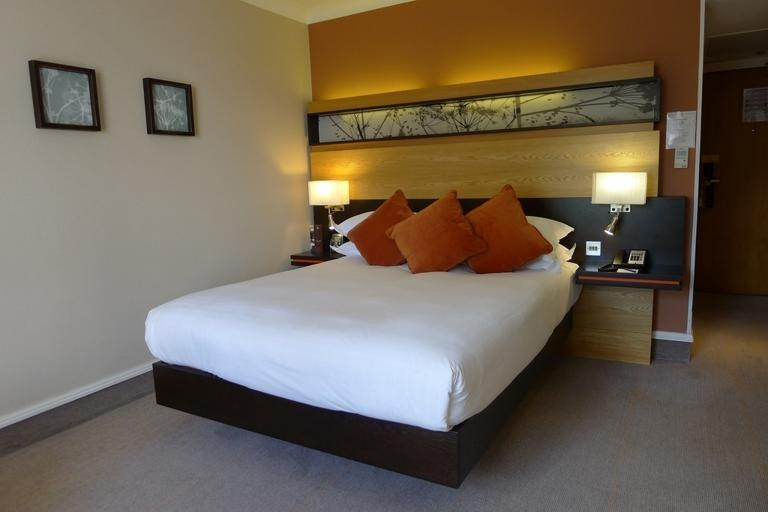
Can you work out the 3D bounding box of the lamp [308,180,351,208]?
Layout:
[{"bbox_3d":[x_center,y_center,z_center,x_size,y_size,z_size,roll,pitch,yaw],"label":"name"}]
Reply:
[{"bbox_3d":[-0.601,-0.682,5.627,0.326,0.214,0.323,0,5,12],"label":"lamp"}]

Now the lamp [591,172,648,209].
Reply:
[{"bbox_3d":[2.034,-0.596,4.426,0.502,0.323,0.275,4,14,26],"label":"lamp"}]

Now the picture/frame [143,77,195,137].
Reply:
[{"bbox_3d":[-1.954,-1.349,4.659,0.482,0.475,0.039,9,17,14],"label":"picture/frame"}]

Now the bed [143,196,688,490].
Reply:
[{"bbox_3d":[0.493,0.461,4.068,3.816,1.497,2.421,-15,17,-41],"label":"bed"}]

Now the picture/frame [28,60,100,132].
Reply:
[{"bbox_3d":[-2.529,-1.267,4.055,0.043,0.493,0.494,10,15,22],"label":"picture/frame"}]
